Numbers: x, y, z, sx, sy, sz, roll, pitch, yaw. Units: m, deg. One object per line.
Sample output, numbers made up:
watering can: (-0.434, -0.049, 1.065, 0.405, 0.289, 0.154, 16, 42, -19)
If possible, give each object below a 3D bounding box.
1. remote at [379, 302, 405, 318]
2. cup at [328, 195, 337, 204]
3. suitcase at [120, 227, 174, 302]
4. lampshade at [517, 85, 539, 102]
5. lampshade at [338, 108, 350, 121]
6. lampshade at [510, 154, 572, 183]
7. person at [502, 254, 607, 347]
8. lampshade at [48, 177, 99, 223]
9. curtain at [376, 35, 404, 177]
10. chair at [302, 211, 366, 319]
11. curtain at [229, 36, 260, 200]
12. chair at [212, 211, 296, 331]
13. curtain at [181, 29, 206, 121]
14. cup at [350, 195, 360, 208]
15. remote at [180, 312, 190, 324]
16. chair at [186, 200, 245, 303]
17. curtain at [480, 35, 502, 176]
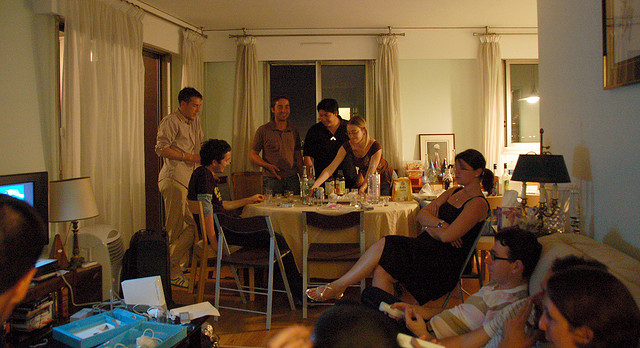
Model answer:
remote: (0.674, 1.269, 4.483, 0.261, 0.202, 0.101, -3, 6, -25)
cup: (0.165, 0.331, 6.174, 0.126, 0.156, 0.091, 3, -5, -26)
suitcase: (-2.052, 1.066, 5.831, 0.744, 0.764, 0.310, 2, 6, 24)
lampshade: (3.827, -1.490, 8.780, 0.311, 0.196, 0.308, 2, 10, 5)
lampshade: (0.451, -1.121, 8.761, 0.185, 0.185, 0.143, 0, 5, 7)
lampshade: (2.393, -0.065, 5.197, 0.639, 0.290, 0.621, 0, 2, -23)
person: (2.073, 1.069, 4.486, 0.798, 1.012, 0.897, 1, 0, 9)
lampshade: (-2.760, 0.286, 5.471, 0.508, 0.358, 0.496, -8, 4, -20)
curtain: (1.255, -1.221, 8.516, 0.488, 2.493, 0.325, 0, 5, 4)
chair: (0.167, 1.050, 5.718, 0.691, 1.150, 0.675, -4, 4, -4)
curtain: (-1.341, -1.241, 8.459, 0.518, 2.391, 0.327, -1, 5, -7)
chair: (-0.804, 1.083, 5.978, 0.955, 1.315, 1.199, -1, 5, -7)
curtain: (-2.161, -1.949, 8.306, 0.202, 1.072, 0.611, 2, 6, 23)
cup: (0.456, 0.352, 6.194, 0.128, 0.144, 0.130, 0, -8, 0)
remote: (-1.271, 1.393, 4.578, 0.087, 0.126, 0.088, 3, -17, -10)
chair: (-1.285, 1.032, 6.275, 0.825, 1.094, 0.863, 11, 18, 39)
curtain: (3.077, -1.235, 8.571, 0.417, 2.504, 0.317, 0, 5, 2)
